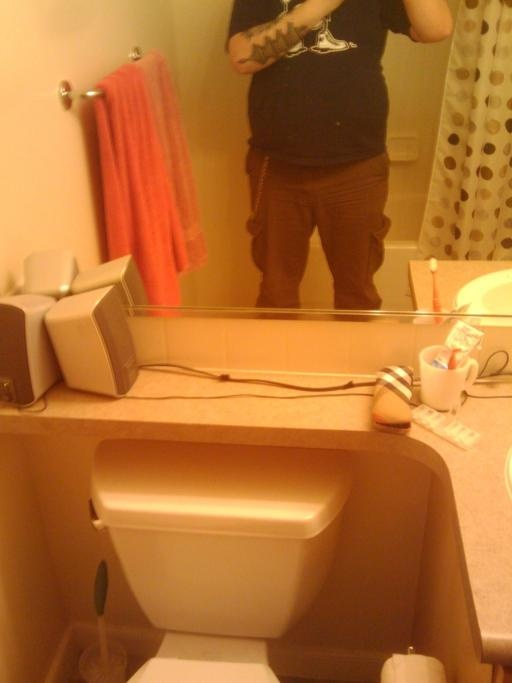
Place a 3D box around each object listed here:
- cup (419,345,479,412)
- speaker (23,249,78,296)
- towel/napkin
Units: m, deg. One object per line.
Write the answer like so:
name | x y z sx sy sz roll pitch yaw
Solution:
cup | 0.288 0.054 0.894 0.092 0.097 0.074 -1 31 -6
speaker | -0.332 -0.110 0.895 0.068 0.076 0.074 20 24 -4
towel/napkin | -0.133 -0.250 0.913 0.108 0.372 0.199 -3 26 -2
